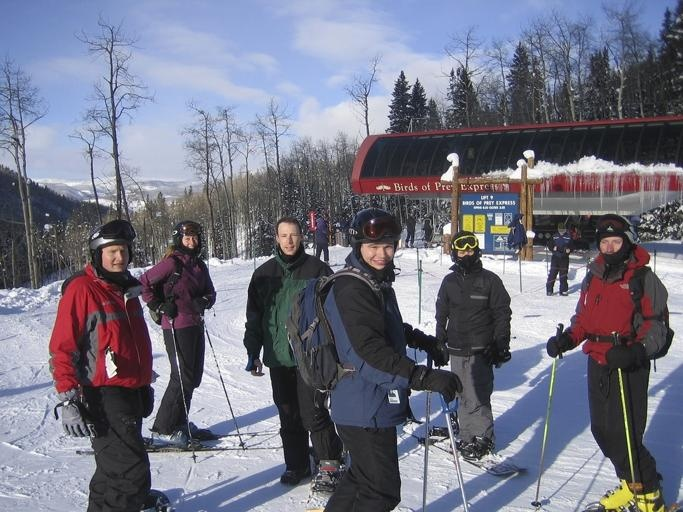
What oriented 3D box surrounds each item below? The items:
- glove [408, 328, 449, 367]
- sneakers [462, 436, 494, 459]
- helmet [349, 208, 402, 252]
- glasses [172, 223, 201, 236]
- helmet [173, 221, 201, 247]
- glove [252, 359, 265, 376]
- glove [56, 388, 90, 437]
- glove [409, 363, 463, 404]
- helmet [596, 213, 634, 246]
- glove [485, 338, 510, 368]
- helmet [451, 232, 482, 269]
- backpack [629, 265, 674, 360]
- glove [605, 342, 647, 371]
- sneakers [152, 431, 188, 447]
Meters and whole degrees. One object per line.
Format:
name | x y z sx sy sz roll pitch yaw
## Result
glove | 0.942 0.977 6.855 0.462 0.190 0.336 38 -5 -34
sneakers | 1.688 2.385 8.056 0.460 0.262 0.188 3 4 -11
helmet | 0.338 -0.269 6.176 0.342 0.369 0.408 0 8 -15
glasses | -1.979 -0.352 8.381 0.227 0.152 0.191 -10 -5 35
helmet | -1.991 -0.298 8.456 0.302 0.317 0.298 9 6 43
glove | -0.962 1.280 7.432 0.130 0.173 0.103 -3 4 -21
glove | -2.606 1.572 6.495 0.370 0.450 0.186 -8 1 -7
glove | 0.855 1.222 5.923 0.395 0.206 0.328 14 -21 -5
helmet | 2.950 -0.298 7.001 0.318 0.278 0.290 18 -16 -36
glove | 1.964 1.203 8.115 0.332 0.398 0.272 13 8 42
helmet | 1.589 -0.067 8.404 0.324 0.486 0.458 -10 -6 16
backpack | 3.243 0.592 6.760 0.342 0.947 0.318 -3 4 -29
glove | 2.976 1.048 6.699 0.489 0.319 0.236 -3 4 -19
sneakers | -2.133 2.309 8.249 0.510 0.274 0.189 2 -6 -5
